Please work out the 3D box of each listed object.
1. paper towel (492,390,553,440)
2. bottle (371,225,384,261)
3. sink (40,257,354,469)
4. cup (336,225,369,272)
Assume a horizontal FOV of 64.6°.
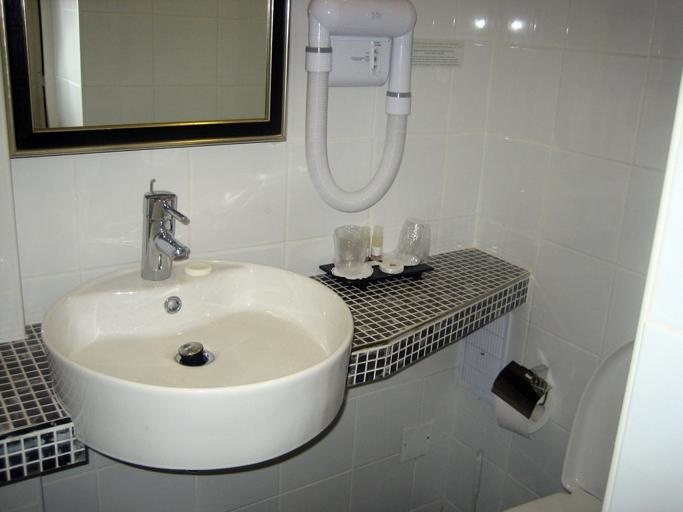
[{"bbox_3d":[0.598,0.532,1.775,0.136,0.082,0.181,-12,18,-27],"label":"paper towel"},{"bbox_3d":[0.122,-0.045,1.742,0.030,0.111,0.060,10,20,34],"label":"bottle"},{"bbox_3d":[-0.319,0.227,1.180,0.500,0.163,0.509,-14,29,-38],"label":"sink"},{"bbox_3d":[0.028,-0.019,1.689,0.117,0.141,0.117,2,17,-1],"label":"cup"}]
